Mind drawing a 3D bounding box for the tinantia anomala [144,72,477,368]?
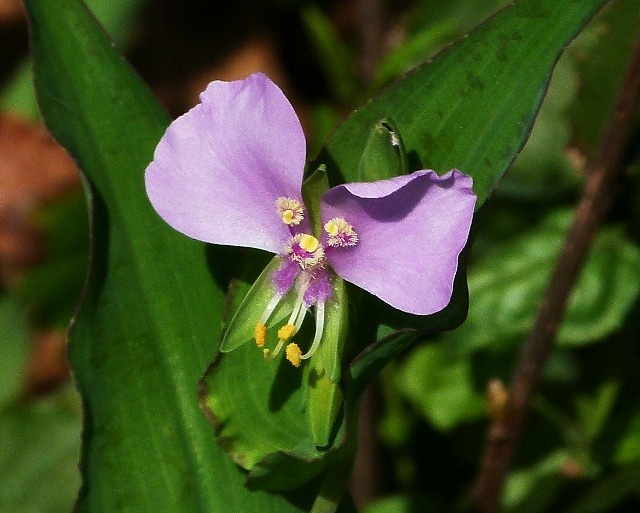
[{"bbox_3d":[0.003,-0.075,1.008,0.378,0.422,0.163,-17,9,22],"label":"tinantia anomala"}]
